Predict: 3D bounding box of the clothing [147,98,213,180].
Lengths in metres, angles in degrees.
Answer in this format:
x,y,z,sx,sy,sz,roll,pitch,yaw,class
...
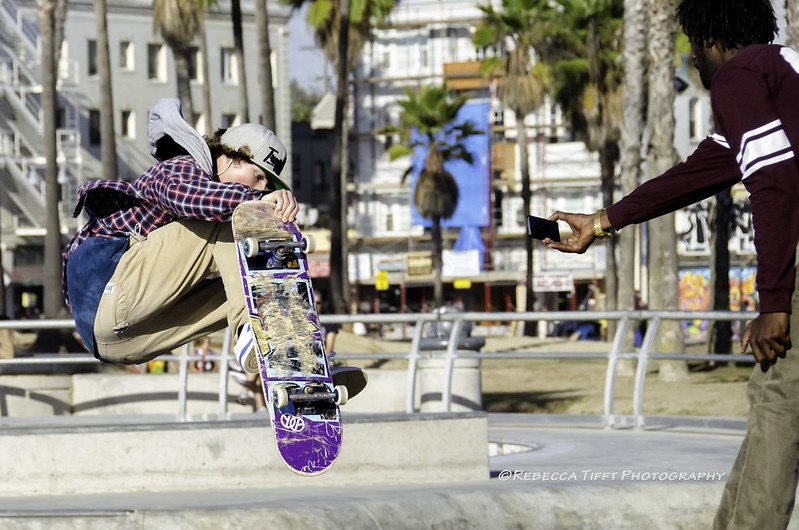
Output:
x,y,z,sx,sy,sz,roll,pitch,yaw,class
-4.605,-2.736,49.068,0.819,1.742,1.290,-30,17,-13,clothing
